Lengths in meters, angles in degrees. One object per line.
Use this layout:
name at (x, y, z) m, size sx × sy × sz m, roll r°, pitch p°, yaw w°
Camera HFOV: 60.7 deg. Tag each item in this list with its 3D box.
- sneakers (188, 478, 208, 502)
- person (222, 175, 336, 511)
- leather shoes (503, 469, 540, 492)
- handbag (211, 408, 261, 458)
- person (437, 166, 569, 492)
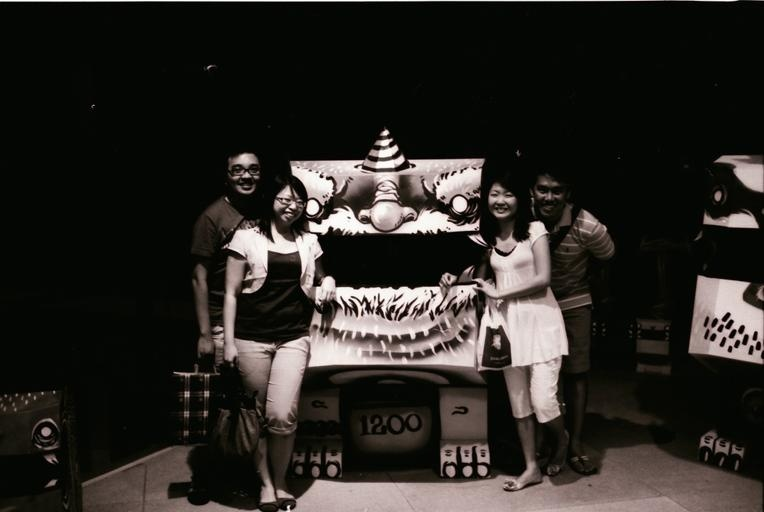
sneakers at (-1.310, 1.683, 4.661) m, size 0.153 × 0.139 × 0.098 m, roll 1°, pitch 5°, yaw 22°
person at (-0.725, 0.610, 4.641) m, size 0.776 × 2.350 × 0.303 m, roll -3°, pitch 5°, yaw -16°
leather shoes at (1.017, 1.647, 4.823) m, size 0.319 × 0.145 × 0.112 m, roll -9°, pitch 2°, yaw -1°
handbag at (-1.026, 1.218, 4.548) m, size 0.316 × 0.380 × 0.196 m, roll 0°, pitch -4°, yaw 7°
person at (1.027, 0.528, 4.780) m, size 0.678 × 2.337 × 0.253 m, roll -3°, pitch 5°, yaw -15°
